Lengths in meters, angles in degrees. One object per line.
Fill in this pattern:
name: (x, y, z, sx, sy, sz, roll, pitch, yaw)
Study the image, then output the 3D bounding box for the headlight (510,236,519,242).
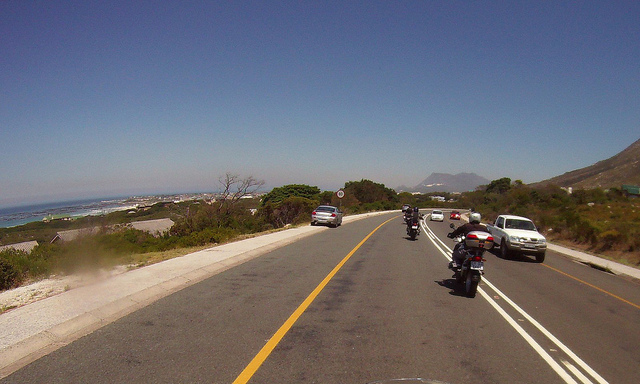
headlight: (9.740, 2.314, 16.818, 0.252, 0.240, 0.063, -6, -30, 30)

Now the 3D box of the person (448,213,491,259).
person: (5.405, 1.275, 12.163, 0.945, 0.979, 1.661, 6, -1, 10)

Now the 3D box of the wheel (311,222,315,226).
wheel: (-0.561, 2.856, 30.424, 0.344, 0.300, 0.237, -1, -1, 5)

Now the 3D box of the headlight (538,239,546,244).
headlight: (10.868, 2.389, 16.452, 0.246, 0.074, 0.232, -6, 10, -19)

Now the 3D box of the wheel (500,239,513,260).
wheel: (9.612, 2.917, 17.311, 0.367, 0.959, 0.989, 2, 3, -3)

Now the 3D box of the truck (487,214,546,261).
truck: (10.452, 2.350, 17.687, 1.706, 1.989, 2.558, 4, 6, 9)

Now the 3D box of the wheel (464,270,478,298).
wheel: (5.056, 3.025, 11.305, 0.295, 0.861, 0.491, 1, 7, -19)

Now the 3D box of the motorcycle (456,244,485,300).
motorcycle: (5.255, 2.662, 11.594, 0.796, 1.576, 1.325, 4, 6, 12)

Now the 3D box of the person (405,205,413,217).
person: (6.552, 1.438, 24.688, 0.461, 0.539, 1.026, -2, -1, 20)

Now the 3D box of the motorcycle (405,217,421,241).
motorcycle: (6.157, 2.320, 21.970, 0.649, 1.531, 0.592, 3, 7, -3)

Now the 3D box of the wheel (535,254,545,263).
wheel: (10.961, 3.266, 16.691, 0.481, 0.315, 0.241, 1, 6, -15)

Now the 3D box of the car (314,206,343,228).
car: (0.750, 2.193, 30.364, 1.925, 1.669, 2.448, 5, 6, 20)

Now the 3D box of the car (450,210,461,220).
car: (19.823, 3.386, 49.179, 1.110, 0.866, 2.025, -1, -4, 18)

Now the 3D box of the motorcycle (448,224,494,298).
motorcycle: (5.193, 2.356, 11.810, 0.929, 2.124, 1.612, 2, 6, -5)
